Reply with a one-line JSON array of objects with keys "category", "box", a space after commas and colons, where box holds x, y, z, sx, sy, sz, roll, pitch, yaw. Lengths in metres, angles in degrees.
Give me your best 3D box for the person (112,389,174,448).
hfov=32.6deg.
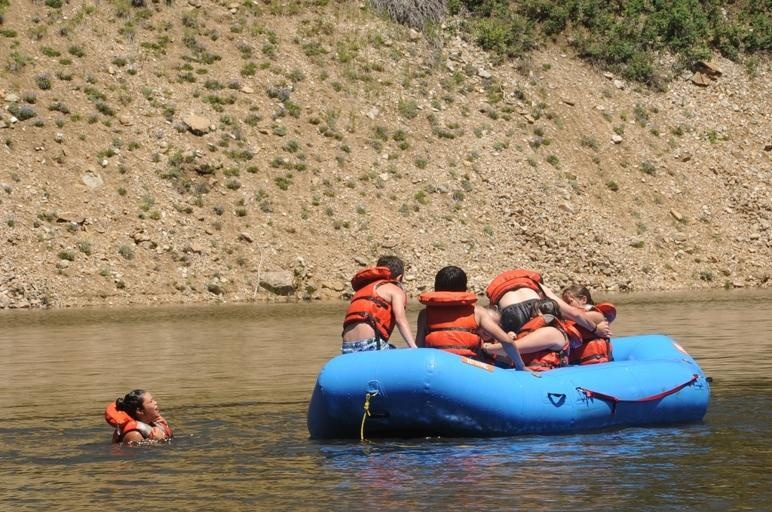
[{"category": "person", "box": [-7.005, 4.729, 37.794, 0.819, 1.301, 1.407, -34, -8, 22]}]
